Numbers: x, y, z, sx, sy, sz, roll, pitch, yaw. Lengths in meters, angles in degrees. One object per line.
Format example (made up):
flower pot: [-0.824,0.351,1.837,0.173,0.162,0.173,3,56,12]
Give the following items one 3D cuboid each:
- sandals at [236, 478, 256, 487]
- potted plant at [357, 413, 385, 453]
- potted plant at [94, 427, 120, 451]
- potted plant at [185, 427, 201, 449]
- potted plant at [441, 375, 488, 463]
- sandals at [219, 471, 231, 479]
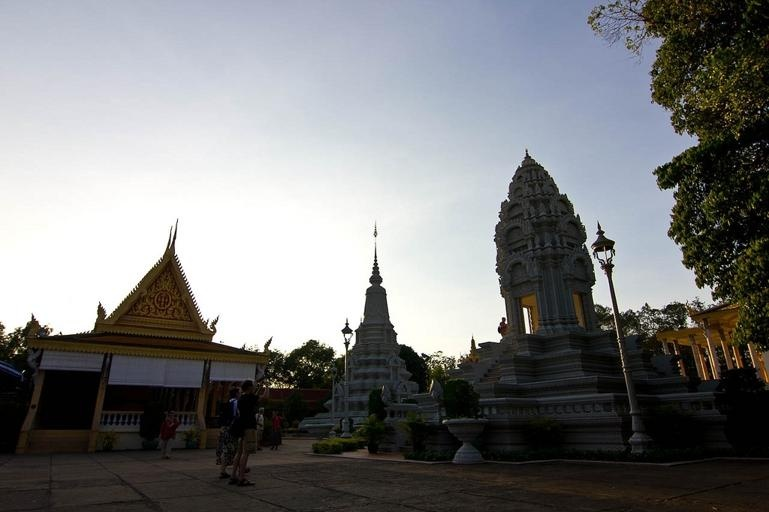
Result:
sandals: [-3.216,5.209,10.499,0.423,0.162,0.204,1,-14,-5]
potted plant: [-0.408,6.782,17.476,0.606,1.387,0.931,14,-27,-33]
potted plant: [-11.203,7.316,18.482,1.013,0.935,0.702,8,-15,-22]
potted plant: [-8.278,7.765,19.505,0.769,0.743,0.737,-12,-32,22]
potted plant: [2.641,5.295,14.822,1.387,2.545,1.158,4,-23,-12]
sandals: [-4.065,5.474,11.395,0.360,0.142,0.166,-12,-23,29]
